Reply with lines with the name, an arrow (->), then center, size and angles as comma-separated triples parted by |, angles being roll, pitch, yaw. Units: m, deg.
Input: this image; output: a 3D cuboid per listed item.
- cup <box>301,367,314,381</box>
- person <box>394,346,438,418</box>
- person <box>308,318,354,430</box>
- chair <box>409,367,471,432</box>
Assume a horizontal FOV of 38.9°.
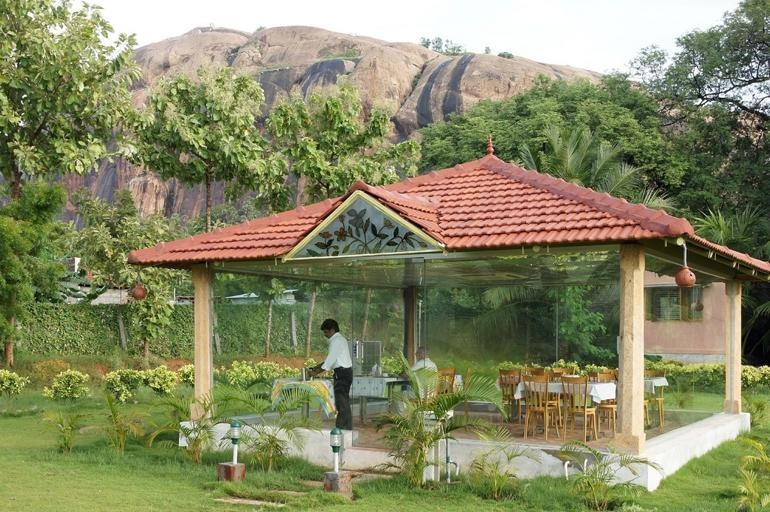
cup -> -1.911, 2.974, 27.736 | 0.353, 0.385, 0.216 | 1, -1, 22
person -> 0.785, 3.026, 26.097 | 0.614, 1.400, 1.247 | 14, 10, -1
person -> -1.266, 2.935, 27.562 | 0.922, 2.754, 0.552 | 1, -6, -6
chair -> 1.315, 3.431, 26.213 | 1.332, 1.457, 1.401 | -1, -9, 10
